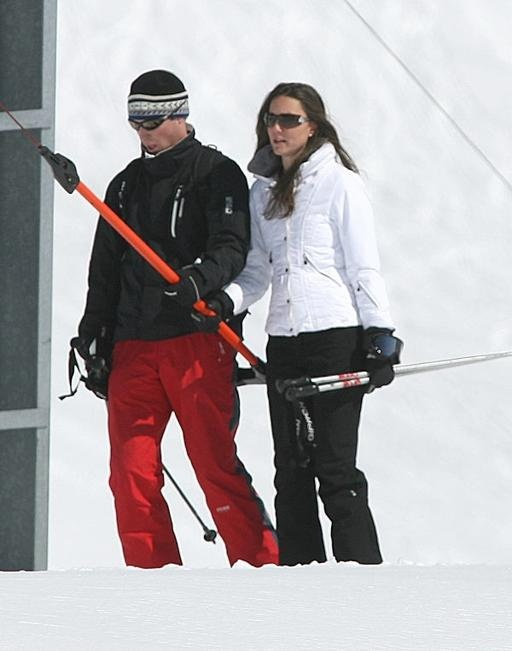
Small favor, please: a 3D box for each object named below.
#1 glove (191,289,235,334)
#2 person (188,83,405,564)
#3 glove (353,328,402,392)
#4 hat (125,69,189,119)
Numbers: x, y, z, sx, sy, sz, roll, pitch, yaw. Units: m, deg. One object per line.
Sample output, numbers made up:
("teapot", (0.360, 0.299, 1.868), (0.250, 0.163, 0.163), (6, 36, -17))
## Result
("glove", (-0.120, -0.044, 4.009), (0.054, 0.110, 0.148), (-34, 2, 44))
("person", (0.176, -0.012, 4.125), (0.610, 1.630, 0.286), (2, -5, 4))
("glove", (0.404, 0.109, 3.986), (0.208, 0.168, 0.144), (0, -3, 13))
("hat", (-0.330, -0.760, 4.112), (0.198, 0.135, 0.179), (0, 10, 16))
